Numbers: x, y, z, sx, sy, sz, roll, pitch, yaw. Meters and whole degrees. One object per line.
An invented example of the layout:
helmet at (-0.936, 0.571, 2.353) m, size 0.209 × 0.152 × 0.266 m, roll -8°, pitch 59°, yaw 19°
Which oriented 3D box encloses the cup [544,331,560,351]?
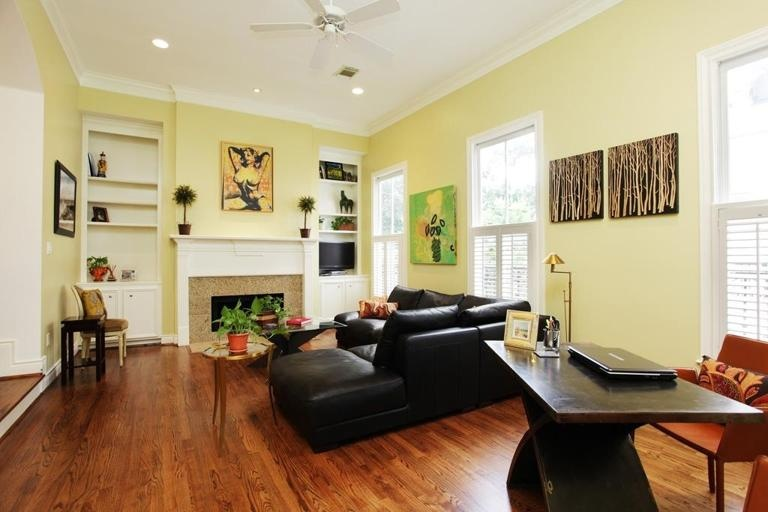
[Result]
cup at (1.376, 0.710, 4.052) m, size 0.123 × 0.161 × 0.154 m, roll 3°, pitch -5°, yaw -25°

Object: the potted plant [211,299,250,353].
potted plant at (-1.402, 0.685, 4.659) m, size 0.322 × 0.508 × 0.385 m, roll -3°, pitch 0°, yaw -15°

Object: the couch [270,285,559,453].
couch at (0.058, 1.143, 4.924) m, size 1.655 × 0.738 × 1.834 m, roll 3°, pitch -6°, yaw -22°

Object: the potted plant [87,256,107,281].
potted plant at (-4.035, 0.171, 6.948) m, size 0.310 × 0.402 × 0.350 m, roll -2°, pitch 1°, yaw -37°

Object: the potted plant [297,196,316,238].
potted plant at (-1.246, -0.634, 8.051) m, size 0.288 × 0.698 × 0.292 m, roll -3°, pitch 0°, yaw -9°

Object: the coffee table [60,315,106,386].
coffee table at (-3.604, 1.090, 5.858) m, size 0.483 × 0.781 × 0.676 m, roll -3°, pitch -1°, yaw -26°

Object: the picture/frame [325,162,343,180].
picture/frame at (-0.900, -1.511, 8.748) m, size 0.293 × 0.297 × 0.020 m, roll 21°, pitch -22°, yaw -40°

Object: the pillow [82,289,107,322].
pillow at (-3.546, 0.615, 5.988) m, size 0.131 × 0.296 × 0.362 m, roll -13°, pitch 6°, yaw -19°

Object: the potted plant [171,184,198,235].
potted plant at (-2.904, -0.675, 7.187) m, size 0.324 × 0.730 × 0.217 m, roll -3°, pitch 0°, yaw -22°

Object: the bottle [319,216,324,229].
bottle at (-1.107, -0.598, 8.780) m, size 0.069 × 0.241 × 0.231 m, roll -3°, pitch -1°, yaw 4°

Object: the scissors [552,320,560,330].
scissors at (1.406, 0.566, 4.010) m, size 0.032 × 0.077 × 0.041 m, roll -3°, pitch 0°, yaw 31°

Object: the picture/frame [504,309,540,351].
picture/frame at (1.162, 0.638, 4.129) m, size 0.296 × 0.351 × 0.024 m, roll 3°, pitch -15°, yaw 35°

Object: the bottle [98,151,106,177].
bottle at (-4.094, -1.342, 7.128) m, size 0.127 × 0.387 × 0.194 m, roll -3°, pitch 0°, yaw -30°

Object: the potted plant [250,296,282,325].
potted plant at (-1.392, 0.662, 5.818) m, size 0.383 × 0.407 × 0.315 m, roll 2°, pitch 1°, yaw -41°
